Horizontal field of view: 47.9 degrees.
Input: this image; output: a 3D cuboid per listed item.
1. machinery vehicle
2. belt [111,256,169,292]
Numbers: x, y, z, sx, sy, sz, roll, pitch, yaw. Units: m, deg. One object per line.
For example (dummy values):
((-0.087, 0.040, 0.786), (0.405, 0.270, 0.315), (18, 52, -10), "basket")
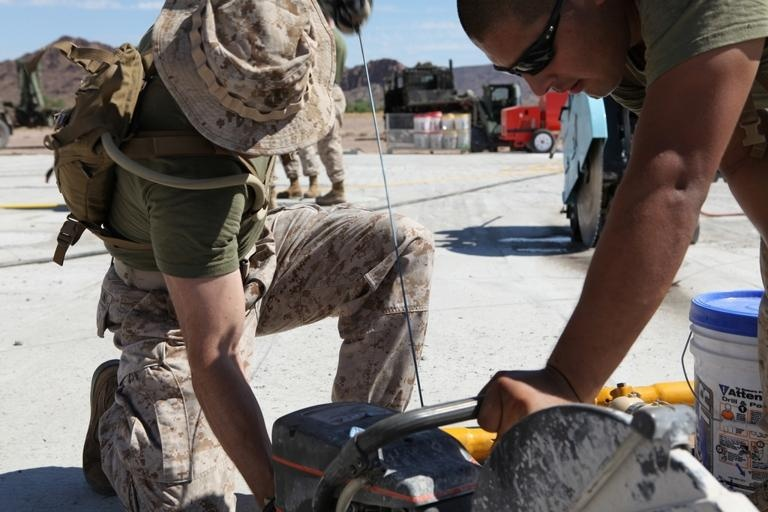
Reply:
((3.231, -2.800, 18.480), (1.369, 1.238, 1.218), (0, 8, -5), "machinery vehicle")
((-0.883, 0.078, 3.122), (0.142, 0.055, 0.142), (6, 8, -22), "belt")
